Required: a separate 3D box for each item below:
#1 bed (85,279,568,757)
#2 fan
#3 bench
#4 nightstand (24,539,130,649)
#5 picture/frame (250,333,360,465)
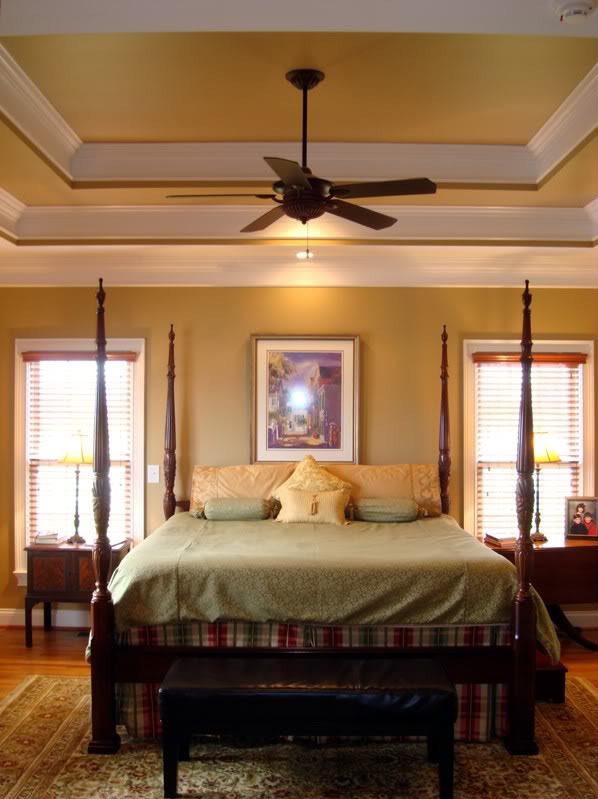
[{"bbox_3d":[0.174,0.544,4.559,2.488,1.774,2.318,0,-3,1],"label":"bed"},{"bbox_3d":[-0.008,-1.013,3.149,1.062,0.587,1.014,1,11,6],"label":"fan"},{"bbox_3d":[0.039,1.335,3.094,1.141,0.473,0.349,-1,-1,2],"label":"bench"},{"bbox_3d":[-1.401,1.282,5.080,0.692,0.573,0.488,-3,-6,11],"label":"nightstand"},{"bbox_3d":[0.062,0.030,5.320,1.026,1.078,0.082,1,-1,0],"label":"picture/frame"}]
